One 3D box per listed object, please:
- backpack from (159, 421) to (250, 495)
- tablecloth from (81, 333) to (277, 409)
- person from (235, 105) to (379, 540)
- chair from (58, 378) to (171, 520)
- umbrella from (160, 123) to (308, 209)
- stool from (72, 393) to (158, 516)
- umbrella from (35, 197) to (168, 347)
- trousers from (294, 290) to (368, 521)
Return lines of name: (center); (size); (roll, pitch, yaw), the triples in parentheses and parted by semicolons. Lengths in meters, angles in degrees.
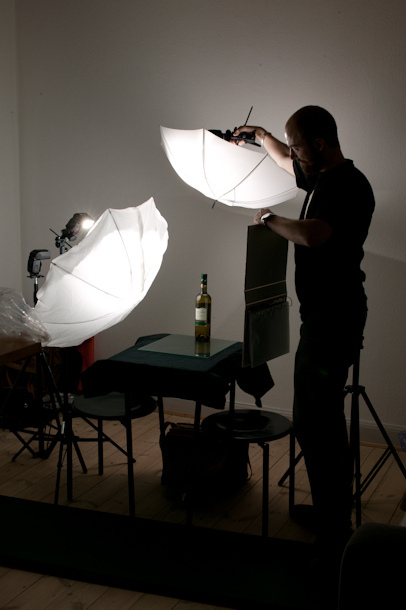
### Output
backpack: (0.018, 0.814, 2.843); (0.407, 0.354, 0.520); (-7, -1, 5)
tablecloth: (-0.119, 0.272, 2.420); (0.670, 0.163, 0.717); (2, 10, 5)
person: (0.475, 0.060, 2.075); (0.341, 1.537, 0.536); (-4, 16, -24)
chair: (-0.456, 0.692, 2.607); (0.501, 0.564, 0.486); (11, -10, 2)
umbrella: (0.050, -0.613, 2.572); (0.874, 0.270, 0.829); (-1, 24, 6)
stool: (-0.431, 0.623, 2.562); (0.386, 0.648, 0.425); (2, 14, 2)
umbrella: (-0.463, -0.132, 2.708); (0.270, 0.650, 0.666); (29, 8, 21)
trousers: (0.467, 0.369, 2.091); (0.262, 0.814, 0.335); (4, 14, 10)
